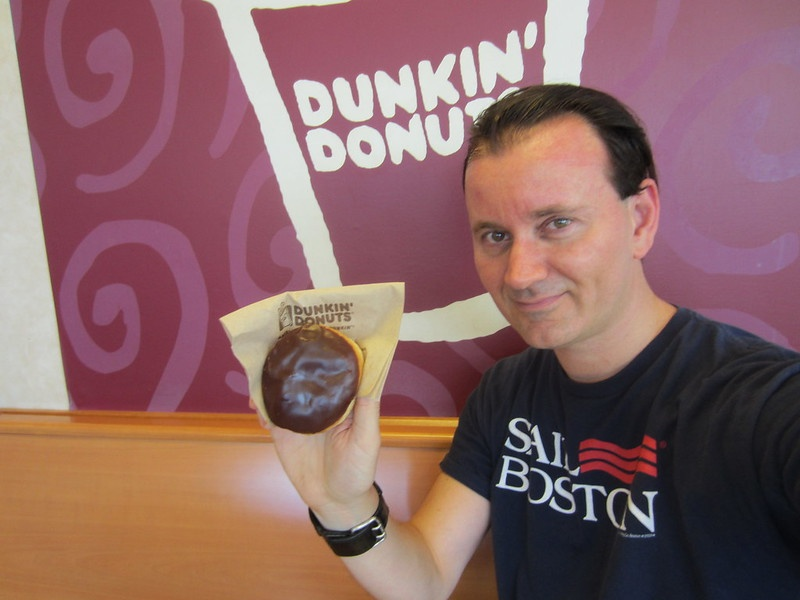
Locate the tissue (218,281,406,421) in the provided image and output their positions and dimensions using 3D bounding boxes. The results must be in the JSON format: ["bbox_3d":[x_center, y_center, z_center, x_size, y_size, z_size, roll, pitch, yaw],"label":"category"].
[{"bbox_3d":[-0.179,0.092,1.601,0.450,0.329,0.120,-9,-8,0],"label":"tissue"}]

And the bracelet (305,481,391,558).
[{"bbox_3d":[-0.131,0.527,1.810,0.138,0.163,0.156,8,19,39],"label":"bracelet"}]

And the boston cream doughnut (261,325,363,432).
[{"bbox_3d":[-0.207,0.183,1.691,0.233,0.230,0.106,-4,16,-11],"label":"boston cream doughnut"}]
